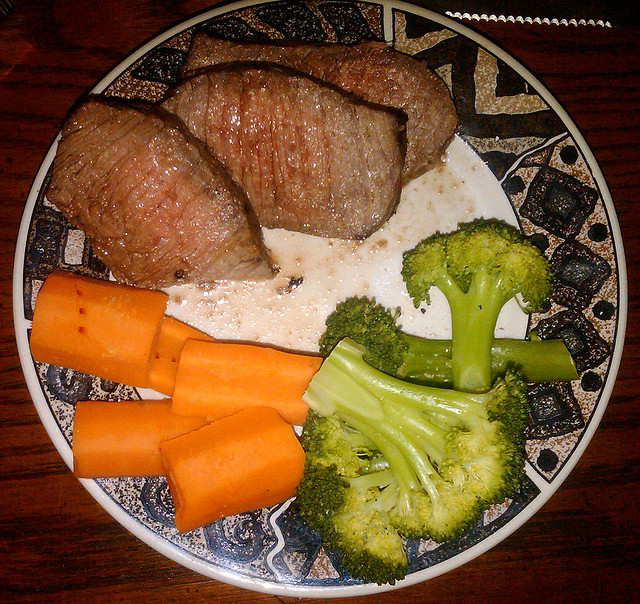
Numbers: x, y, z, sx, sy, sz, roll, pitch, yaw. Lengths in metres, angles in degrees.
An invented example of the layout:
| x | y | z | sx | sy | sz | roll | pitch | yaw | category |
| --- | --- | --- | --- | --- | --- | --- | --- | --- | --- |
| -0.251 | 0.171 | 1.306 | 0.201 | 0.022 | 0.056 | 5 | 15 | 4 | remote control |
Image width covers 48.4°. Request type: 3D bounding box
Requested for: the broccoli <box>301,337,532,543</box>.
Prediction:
| x | y | z | sx | sy | sz | roll | pitch | yaw | category |
| --- | --- | --- | --- | --- | --- | --- | --- | --- | --- |
| 0.367 | 0.569 | 2.873 | 0.865 | 0.197 | 0.722 | 11 | 80 | 6 | broccoli |

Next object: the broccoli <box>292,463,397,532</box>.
| x | y | z | sx | sy | sz | roll | pitch | yaw | category |
| --- | --- | --- | --- | --- | --- | --- | --- | --- | --- |
| 0.095 | 0.778 | 2.968 | 0.339 | 0.148 | 0.280 | -16 | 78 | -12 | broccoli |
